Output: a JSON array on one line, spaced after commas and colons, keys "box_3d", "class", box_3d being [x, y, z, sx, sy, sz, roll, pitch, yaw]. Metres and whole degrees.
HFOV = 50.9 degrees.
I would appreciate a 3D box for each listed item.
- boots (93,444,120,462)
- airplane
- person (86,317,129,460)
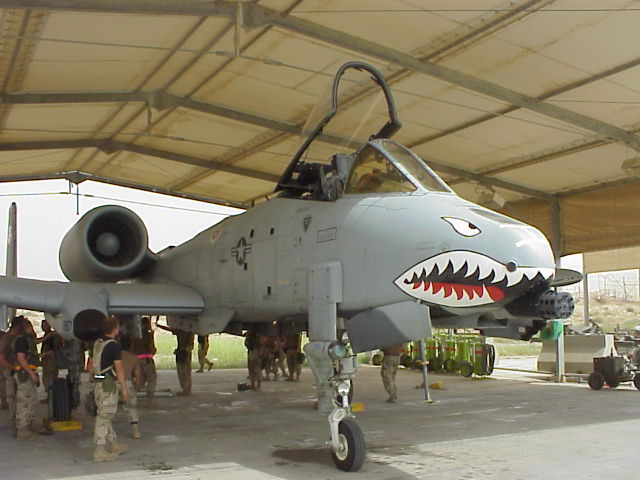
[{"box_3d": [-3.289, 3.287, 10.532, 0.399, 0.254, 0.704, 1, -10, -7], "class": "boots"}, {"box_3d": [-1.217, 0.359, 11.940, 10.343, 3.645, 8.773, 1, -2, -30], "class": "airplane"}, {"box_3d": [-3.303, 2.302, 10.471, 0.575, 2.179, 0.455, -1, -12, 4], "class": "person"}]
